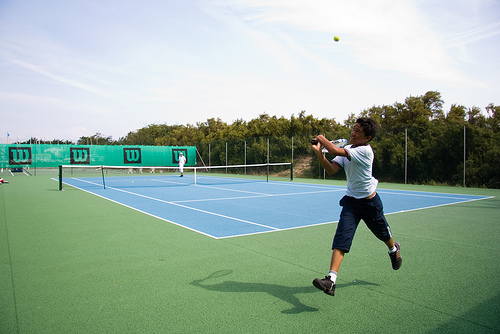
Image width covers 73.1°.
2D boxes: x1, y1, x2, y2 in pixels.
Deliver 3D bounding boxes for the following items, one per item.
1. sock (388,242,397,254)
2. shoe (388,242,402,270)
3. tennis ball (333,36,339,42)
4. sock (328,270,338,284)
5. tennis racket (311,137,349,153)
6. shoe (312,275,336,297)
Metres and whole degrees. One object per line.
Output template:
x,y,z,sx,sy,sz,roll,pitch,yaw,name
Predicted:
2.228,1.278,5.230,0.125,0.133,0.072,0,5,4,sock
2.288,1.416,5.266,0.149,0.467,0.198,-3,0,42,shoe
2.197,-3.312,8.649,0.109,0.111,0.130,-34,-25,-9,tennis ball
1.136,1.499,4.590,0.118,0.194,0.130,2,-4,-16,sock
1.395,-0.409,5.740,0.353,0.170,0.529,-2,-5,-38,tennis racket
1.043,1.600,4.554,0.353,0.224,0.156,29,-26,-15,shoe
